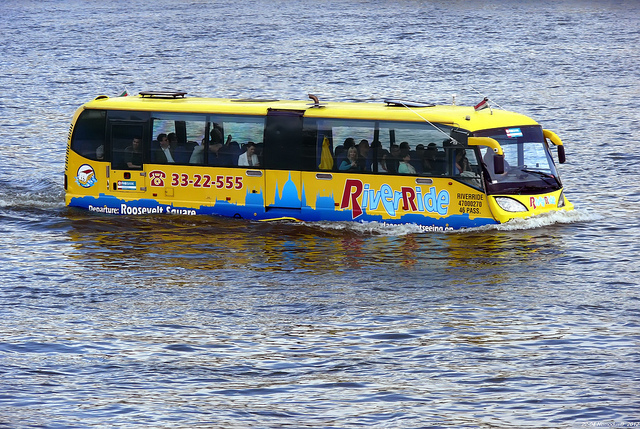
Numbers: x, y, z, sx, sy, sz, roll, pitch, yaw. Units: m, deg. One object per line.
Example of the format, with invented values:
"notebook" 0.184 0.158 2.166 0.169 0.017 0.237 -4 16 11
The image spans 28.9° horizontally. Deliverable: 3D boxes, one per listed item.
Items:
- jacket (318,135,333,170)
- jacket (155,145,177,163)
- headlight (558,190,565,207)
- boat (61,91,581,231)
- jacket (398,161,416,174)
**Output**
"jacket" 0.222 -2.103 43.068 0.493 1.111 0.228 10 9 15
"jacket" -5.591 -2.149 44.368 0.722 0.594 0.215 5 9 3
"headlight" 8.407 -0.499 43.268 0.201 0.476 0.579 9 8 13
"boat" -0.403 -1.785 43.346 16.550 4.243 1.679 4 8 11
"jacket" 2.894 -1.568 42.575 0.599 0.461 0.781 -5 8 10
